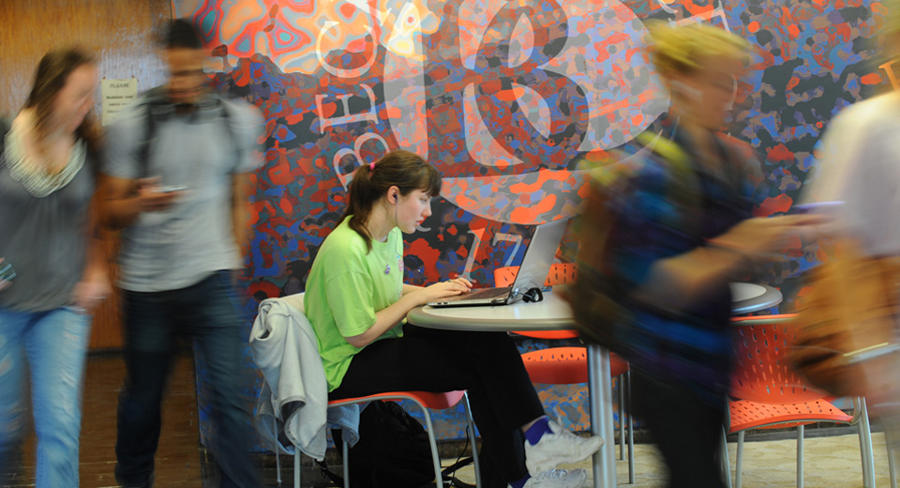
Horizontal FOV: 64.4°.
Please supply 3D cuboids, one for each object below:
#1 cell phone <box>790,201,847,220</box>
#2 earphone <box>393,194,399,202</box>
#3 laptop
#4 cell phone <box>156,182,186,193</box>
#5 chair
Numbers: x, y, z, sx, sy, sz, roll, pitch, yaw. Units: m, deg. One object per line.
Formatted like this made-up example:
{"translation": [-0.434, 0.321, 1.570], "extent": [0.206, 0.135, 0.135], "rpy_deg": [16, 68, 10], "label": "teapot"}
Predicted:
{"translation": [1.262, -0.123, 2.475], "extent": [0.208, 0.036, 0.050], "rpy_deg": [-1, -3, 3], "label": "cell phone"}
{"translation": [-0.266, -0.228, 3.500], "extent": [0.023, 0.025, 0.025], "rpy_deg": [-1, -5, -4], "label": "earphone"}
{"translation": [0.242, 0.120, 3.427], "extent": [0.519, 0.287, 0.527], "rpy_deg": [-1, -2, 19], "label": "laptop"}
{"translation": [-1.210, -0.247, 3.121], "extent": [0.110, 0.033, 0.015], "rpy_deg": [-1, 0, -21], "label": "cell phone"}
{"translation": [0.486, 0.605, 3.229], "extent": [1.589, 0.649, 1.444], "rpy_deg": [-1, -2, -8], "label": "chair"}
